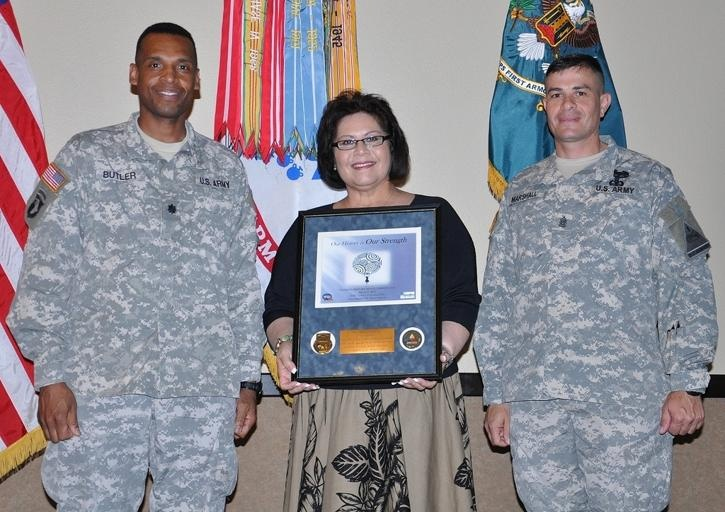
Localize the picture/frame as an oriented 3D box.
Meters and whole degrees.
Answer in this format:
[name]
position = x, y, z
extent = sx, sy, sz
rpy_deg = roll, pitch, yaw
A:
[picture/frame]
position = 0.038, 0.187, 3.090
extent = 0.737, 0.907, 0.066
rpy_deg = -2, -20, 5
